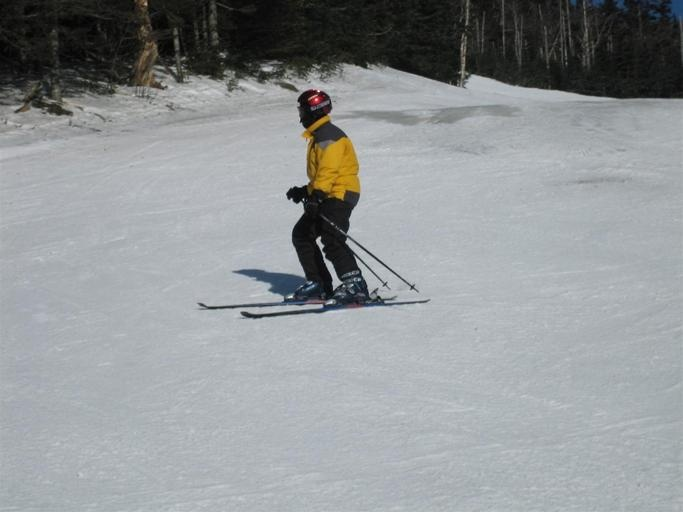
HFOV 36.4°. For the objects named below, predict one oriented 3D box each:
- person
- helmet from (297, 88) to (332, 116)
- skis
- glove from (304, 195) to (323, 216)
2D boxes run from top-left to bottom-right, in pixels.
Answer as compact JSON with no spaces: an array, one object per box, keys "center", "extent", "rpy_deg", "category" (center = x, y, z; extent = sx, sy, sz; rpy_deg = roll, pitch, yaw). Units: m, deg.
[{"center":[-0.204,-0.591,10.419],"extent":[0.778,2.125,0.575],"rpy_deg":[-2,12,9],"category":"person"},{"center":[-0.286,-1.520,10.321],"extent":[0.371,0.202,0.234],"rpy_deg":[3,22,-3],"category":"helmet"},{"center":[-0.282,0.482,10.621],"extent":[2.846,0.150,0.241],"rpy_deg":[-2,18,-4],"category":"skis"},{"center":[-0.266,-0.502,10.234],"extent":[0.226,0.178,0.072],"rpy_deg":[10,-22,49],"category":"glove"}]
